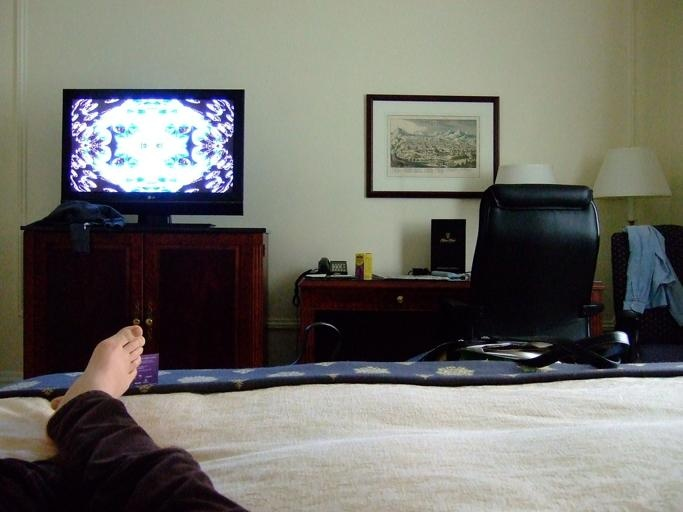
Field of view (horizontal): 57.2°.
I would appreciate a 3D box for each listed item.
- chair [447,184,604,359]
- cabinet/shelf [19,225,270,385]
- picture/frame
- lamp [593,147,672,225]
[{"bbox_3d":[0.695,0.042,3.034,0.584,0.900,0.713,2,-3,-3],"label":"chair"},{"bbox_3d":[-1.067,0.385,3.415,1.177,1.152,0.465,0,7,-19],"label":"cabinet/shelf"},{"bbox_3d":[0.518,-0.681,3.768,0.686,0.543,0.027,0,-1,-3],"label":"picture/frame"},{"bbox_3d":[1.611,-0.388,3.508,0.355,0.431,0.364,1,1,19],"label":"lamp"}]
